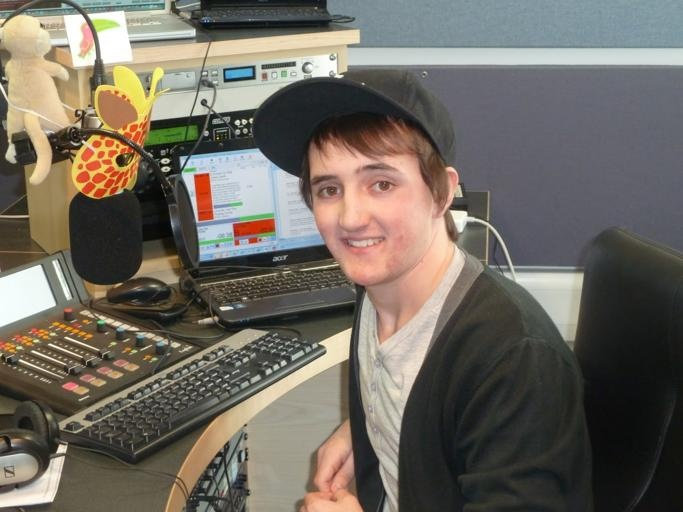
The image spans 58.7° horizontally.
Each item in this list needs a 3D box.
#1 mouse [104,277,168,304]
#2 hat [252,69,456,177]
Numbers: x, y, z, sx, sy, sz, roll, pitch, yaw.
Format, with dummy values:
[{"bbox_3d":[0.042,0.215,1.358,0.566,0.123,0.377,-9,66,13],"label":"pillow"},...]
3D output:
[{"bbox_3d":[-0.489,0.085,1.474,0.114,0.033,0.069,2,8,-10],"label":"mouse"},{"bbox_3d":[0.031,-0.235,1.009,0.291,0.096,0.200,19,-18,-22],"label":"hat"}]
